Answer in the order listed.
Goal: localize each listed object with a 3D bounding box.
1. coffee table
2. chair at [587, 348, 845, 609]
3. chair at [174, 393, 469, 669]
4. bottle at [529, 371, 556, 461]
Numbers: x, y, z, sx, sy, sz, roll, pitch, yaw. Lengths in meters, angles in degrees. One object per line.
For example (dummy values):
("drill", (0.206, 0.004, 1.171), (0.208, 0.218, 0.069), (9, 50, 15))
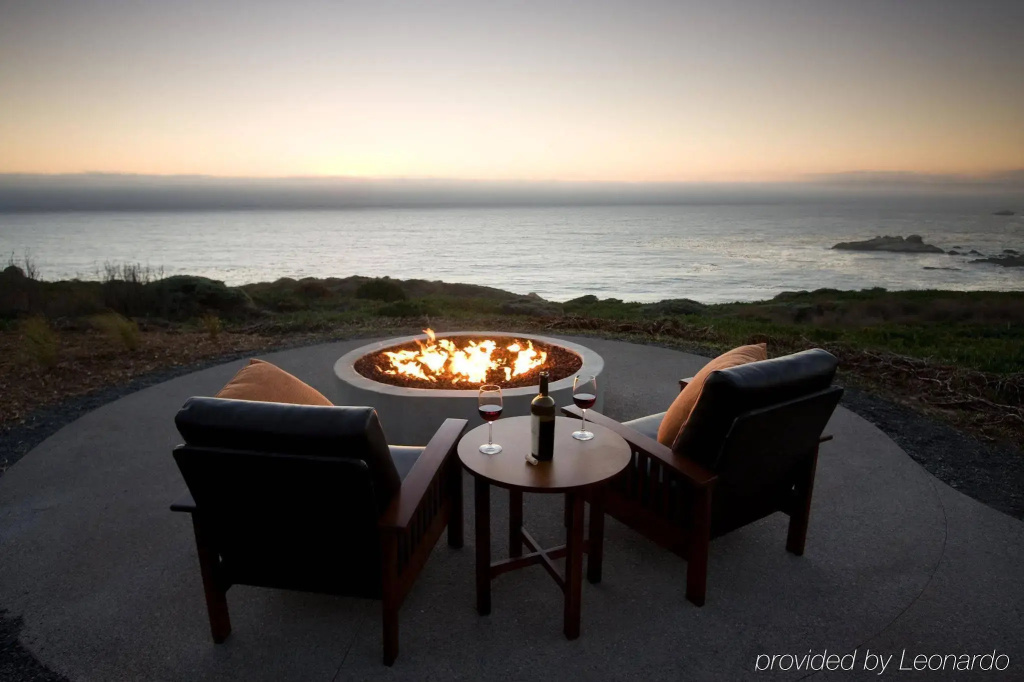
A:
("coffee table", (0.284, 1.618, 5.723), (1.563, 1.358, 1.471), (3, 11, 16))
("chair", (1.770, 1.055, 6.300), (1.728, 1.977, 2.277), (-11, 13, -37))
("chair", (-1.578, 1.418, 6.124), (2.095, 1.936, 2.630), (0, 5, 5))
("bottle", (0.257, 0.604, 5.379), (0.198, 0.778, 0.264), (0, 19, 2))
